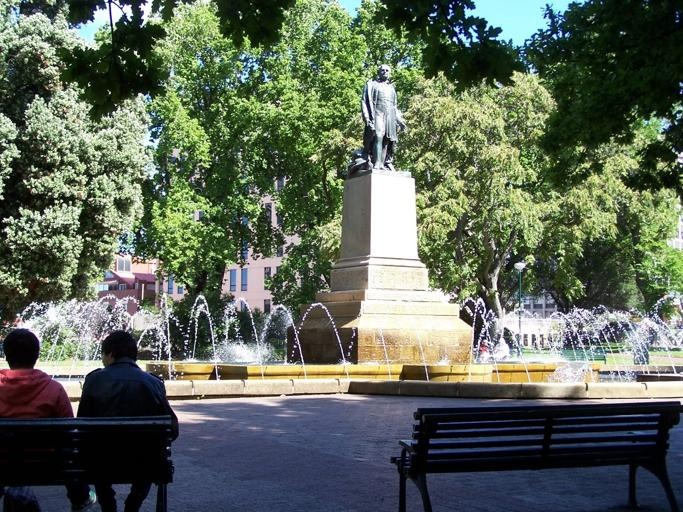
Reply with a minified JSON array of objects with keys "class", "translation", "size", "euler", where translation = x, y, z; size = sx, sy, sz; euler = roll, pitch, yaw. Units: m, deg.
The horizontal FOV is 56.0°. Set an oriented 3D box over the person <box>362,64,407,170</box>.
[{"class":"person","translation":[1.359,-4.560,21.206],"size":[1.290,3.719,0.728],"euler":[3,-8,-27]}]
